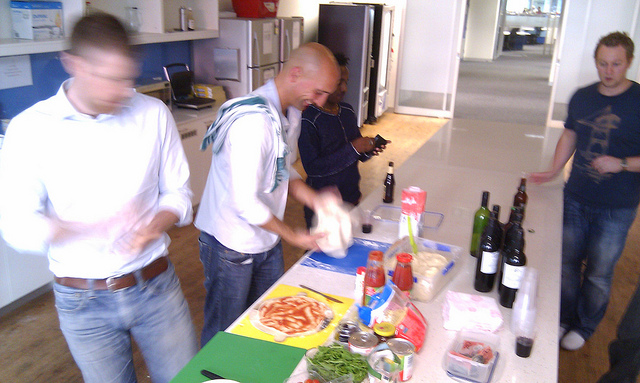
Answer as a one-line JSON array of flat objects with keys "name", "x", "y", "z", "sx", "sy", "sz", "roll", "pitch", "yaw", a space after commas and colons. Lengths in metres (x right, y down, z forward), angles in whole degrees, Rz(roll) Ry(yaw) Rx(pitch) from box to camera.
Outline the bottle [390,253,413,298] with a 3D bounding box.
[{"name": "bottle", "x": 0.446, "y": 0.447, "z": 2.387, "sx": 0.111, "sy": 0.199, "sz": 0.109, "roll": 1, "pitch": 22, "yaw": 0}]

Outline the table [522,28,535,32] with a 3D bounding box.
[{"name": "table", "x": 9.458, "y": -7.327, "z": 20.041, "sx": 0.554, "sy": 0.167, "sz": 0.127, "roll": -6, "pitch": 23, "yaw": -19}]

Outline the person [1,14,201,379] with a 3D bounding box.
[{"name": "person", "x": -1.081, "y": 0.101, "z": 2.204, "sx": 0.867, "sy": 1.840, "sz": 0.516, "roll": -5, "pitch": 23, "yaw": -15}]

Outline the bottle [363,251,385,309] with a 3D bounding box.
[{"name": "bottle", "x": 0.281, "y": 0.470, "z": 2.281, "sx": 0.104, "sy": 0.259, "sz": 0.218, "roll": 4, "pitch": 22, "yaw": 7}]

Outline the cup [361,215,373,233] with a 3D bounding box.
[{"name": "cup", "x": 0.317, "y": 0.216, "z": 2.993, "sx": 0.102, "sy": 0.108, "sz": 0.101, "roll": -3, "pitch": 34, "yaw": 2}]

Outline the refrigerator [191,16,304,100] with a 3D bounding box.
[{"name": "refrigerator", "x": -0.851, "y": -1.798, "z": 6.164, "sx": 0.754, "sy": 1.251, "sz": 1.351, "roll": 16, "pitch": 29, "yaw": 24}]
